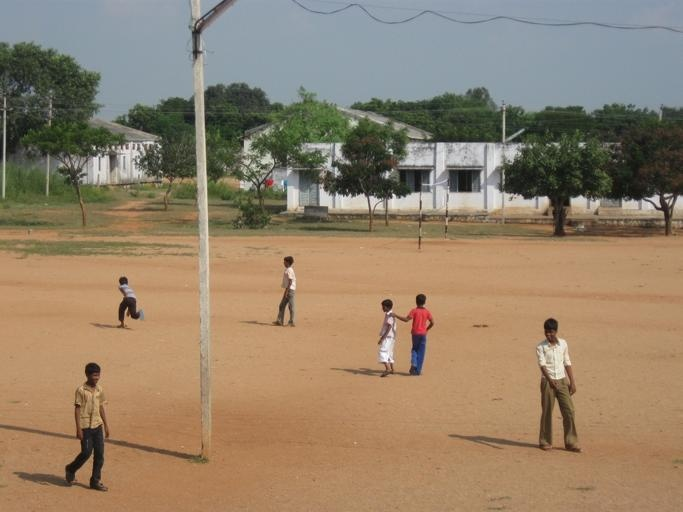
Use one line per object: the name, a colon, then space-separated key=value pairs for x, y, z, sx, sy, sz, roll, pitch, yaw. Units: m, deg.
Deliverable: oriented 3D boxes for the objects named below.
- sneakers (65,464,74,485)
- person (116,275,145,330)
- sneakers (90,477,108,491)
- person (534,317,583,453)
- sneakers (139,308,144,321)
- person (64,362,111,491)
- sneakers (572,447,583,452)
sneakers: x=-7.061 y=5.692 z=36.892 sx=0.217 sy=0.509 sz=0.232 roll=-1 pitch=0 yaw=0
person: x=-6.987 y=1.212 z=47.067 sx=0.816 sy=1.600 sz=3.213 roll=0 pitch=10 yaw=-8
sneakers: x=-6.330 y=5.944 z=36.879 sx=0.530 sy=0.244 sz=0.220 roll=5 pitch=4 yaw=23
person: x=5.955 y=3.489 z=38.555 sx=1.148 sy=3.496 sz=0.768 roll=2 pitch=10 yaw=8
sneakers: x=-6.445 y=1.854 z=45.871 sx=0.143 sy=0.390 sz=0.157 roll=-1 pitch=-3 yaw=-13
person: x=-6.589 y=4.422 z=36.915 sx=0.983 sy=3.239 sz=0.849 roll=0 pitch=10 yaw=-9
sneakers: x=6.470 y=5.253 z=38.464 sx=0.232 sy=0.105 sz=0.094 roll=-3 pitch=9 yaw=11
